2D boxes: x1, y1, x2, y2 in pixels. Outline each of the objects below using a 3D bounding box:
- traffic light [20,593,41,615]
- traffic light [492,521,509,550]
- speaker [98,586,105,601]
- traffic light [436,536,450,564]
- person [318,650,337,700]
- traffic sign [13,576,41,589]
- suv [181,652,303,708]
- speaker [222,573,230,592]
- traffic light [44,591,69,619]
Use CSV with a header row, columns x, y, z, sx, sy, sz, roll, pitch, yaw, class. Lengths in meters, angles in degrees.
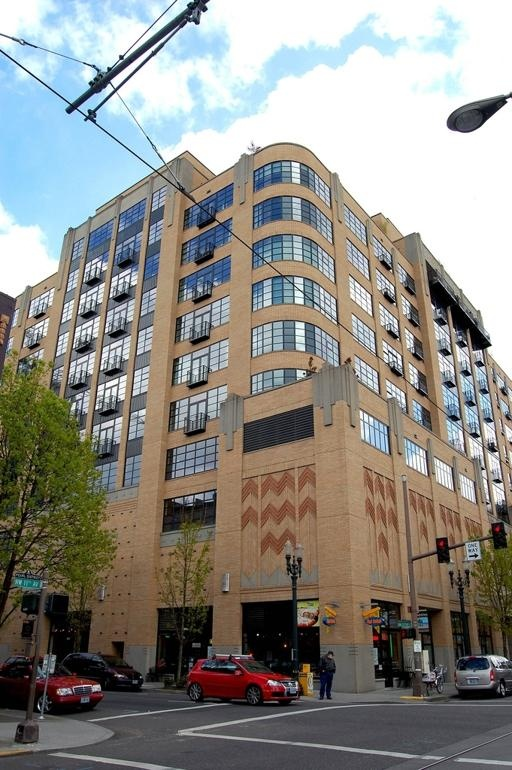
x,y,z,sx,sy,sz,roll,pitch,yaw,class
-4.486,4.355,10.484,0.347,0.415,0.565,9,-26,-19,traffic light
9.043,5.576,19.643,0.425,0.957,1.230,-9,-26,21,traffic light
-10.872,14.675,37.102,0.391,0.919,0.504,-14,-28,30,speaker
7.751,6.816,21.896,0.410,0.924,1.008,-6,-25,15,traffic light
2.765,11.467,20.840,0.615,1.628,1.372,-2,-24,5,person
-4.744,4.102,11.003,0.510,0.215,0.889,10,-26,-19,traffic sign
-0.602,9.811,17.480,1.005,1.429,4.071,22,-33,-40,suv
-1.751,11.226,29.896,0.494,0.988,0.368,-7,-25,16,speaker
-4.331,4.784,11.471,0.389,0.505,1.155,7,-26,-13,traffic light
